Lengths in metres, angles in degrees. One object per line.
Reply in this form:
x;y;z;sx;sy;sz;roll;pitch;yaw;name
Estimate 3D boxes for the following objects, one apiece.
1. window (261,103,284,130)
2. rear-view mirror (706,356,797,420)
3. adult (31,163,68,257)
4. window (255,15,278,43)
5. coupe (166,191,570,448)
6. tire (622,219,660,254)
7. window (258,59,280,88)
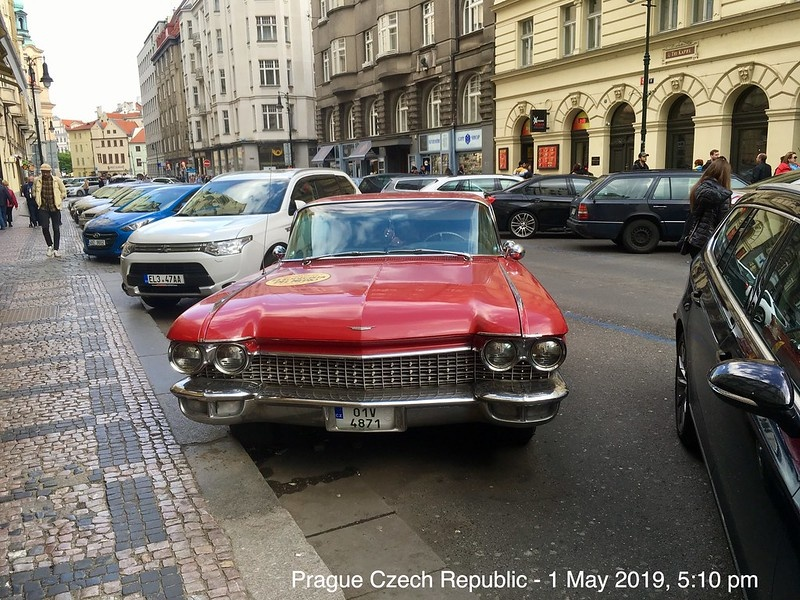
-14.984;-21.322;61.880;2.856;3.405;0.277;-1;7;-7;window
1.208;0.291;1.833;0.162;0.080;0.219;-3;17;-13;rear-view mirror
-9.847;-2.545;15.073;0.833;2.502;0.850;7;10;36;adult
-15.205;-30.816;60.539;2.883;3.347;0.302;0;12;-3;window
-0.066;-0.166;5.448;2.803;1.715;4.342;-2;13;6;coupe
6.376;-1.731;14.094;0.830;0.861;0.297;2;8;15;tire
-15.144;-26.026;61.102;3.044;4.105;0.275;-1;7;-6;window
